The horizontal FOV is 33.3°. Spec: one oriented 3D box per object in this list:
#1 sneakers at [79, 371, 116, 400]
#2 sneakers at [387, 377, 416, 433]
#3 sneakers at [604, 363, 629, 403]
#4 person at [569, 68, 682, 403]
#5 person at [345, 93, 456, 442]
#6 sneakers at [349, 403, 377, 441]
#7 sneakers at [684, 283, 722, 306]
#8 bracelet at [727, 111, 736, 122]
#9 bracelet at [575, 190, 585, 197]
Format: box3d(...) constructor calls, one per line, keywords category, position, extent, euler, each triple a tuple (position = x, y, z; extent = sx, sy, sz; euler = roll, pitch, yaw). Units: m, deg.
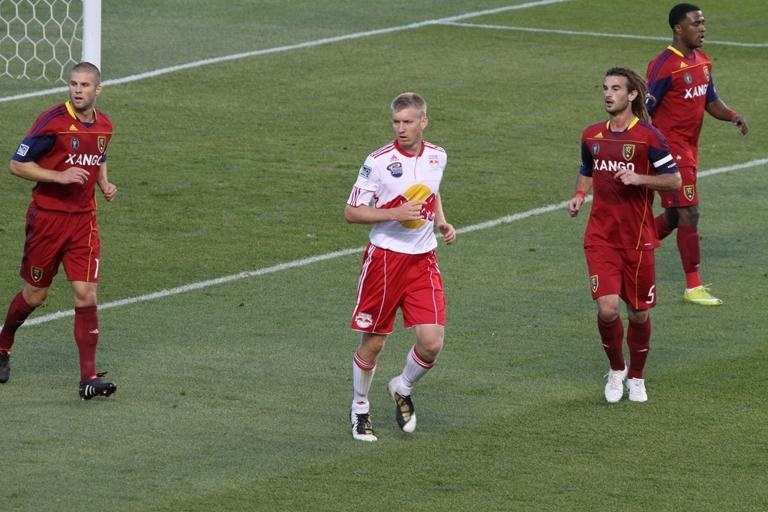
box3d(category="sneakers", position=(-2.404, 1.103, 10.837), extent=(0.338, 0.206, 0.218), euler=(2, 12, 8))
box3d(category="sneakers", position=(0.166, 1.230, 10.630), extent=(0.182, 0.463, 0.207), euler=(-16, -6, -37))
box3d(category="sneakers", position=(1.989, 1.096, 11.000), extent=(0.143, 0.135, 0.339), euler=(2, 44, 23))
box3d(category="person", position=(2.044, -0.192, 11.000), extent=(0.855, 2.802, 0.846), euler=(-2, 13, -7))
box3d(category="person", position=(0.129, 0.073, 10.529), extent=(0.871, 2.772, 0.879), euler=(0, 13, 2))
box3d(category="sneakers", position=(-0.187, 1.361, 10.457), extent=(0.152, 0.157, 0.363), euler=(-7, 50, -12))
box3d(category="sneakers", position=(3.152, 0.393, 12.654), extent=(0.377, 0.132, 0.171), euler=(3, 10, 11))
box3d(category="bracelet", position=(3.482, -1.404, 12.842), extent=(0.095, 0.058, 0.087), euler=(-3, 12, 0))
box3d(category="bracelet", position=(1.707, -0.544, 11.163), extent=(0.074, 0.044, 0.065), euler=(4, 9, -1))
